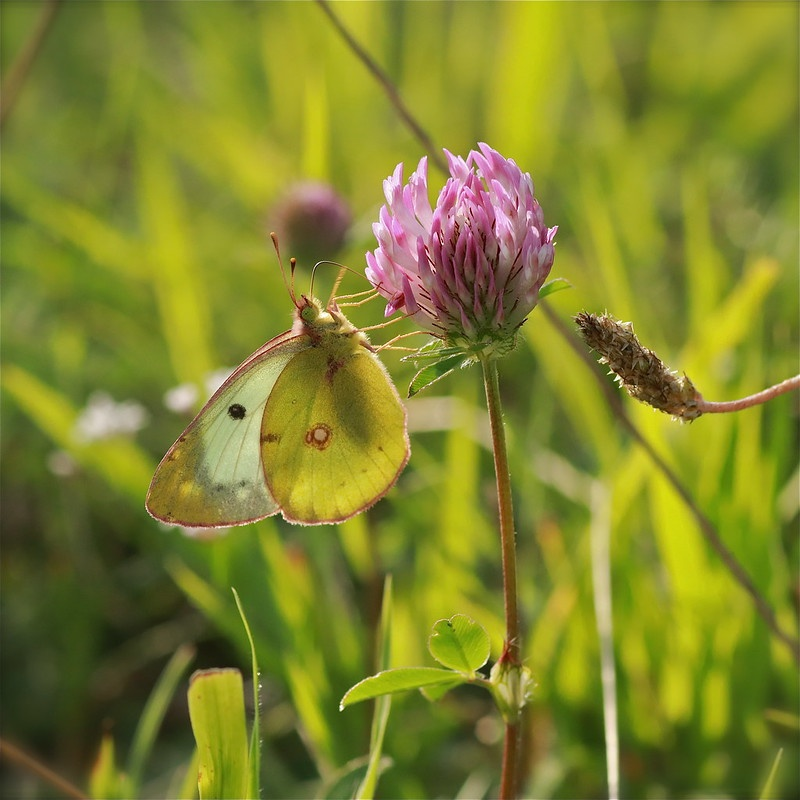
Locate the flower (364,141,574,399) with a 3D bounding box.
[{"bbox_3d":[0.077,-0.167,1.397,0.262,0.401,0.277,-12,30,-14],"label":"flower"}]

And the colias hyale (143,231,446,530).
[{"bbox_3d":[-0.113,0.042,1.643,0.432,0.473,0.304,4,25,35],"label":"colias hyale"}]
